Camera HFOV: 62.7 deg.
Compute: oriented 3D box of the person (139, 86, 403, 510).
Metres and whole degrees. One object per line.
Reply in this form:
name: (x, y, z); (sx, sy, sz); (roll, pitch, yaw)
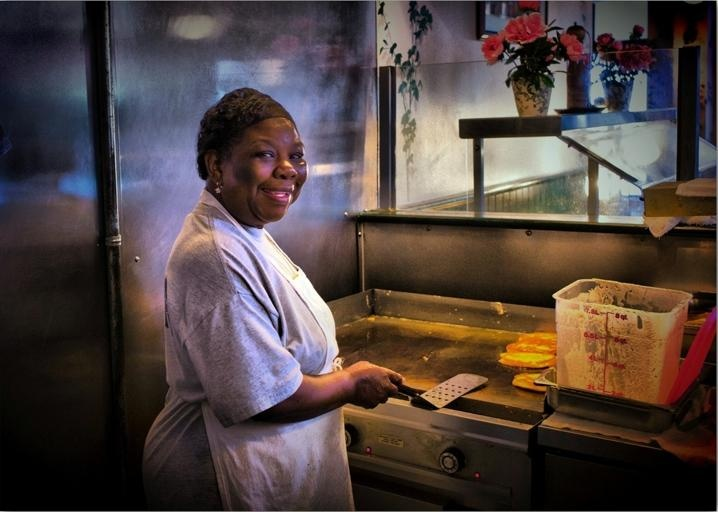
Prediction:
person: (-0.244, 0.147, 1.473); (0.609, 1.098, 0.356); (-4, 9, -20)
